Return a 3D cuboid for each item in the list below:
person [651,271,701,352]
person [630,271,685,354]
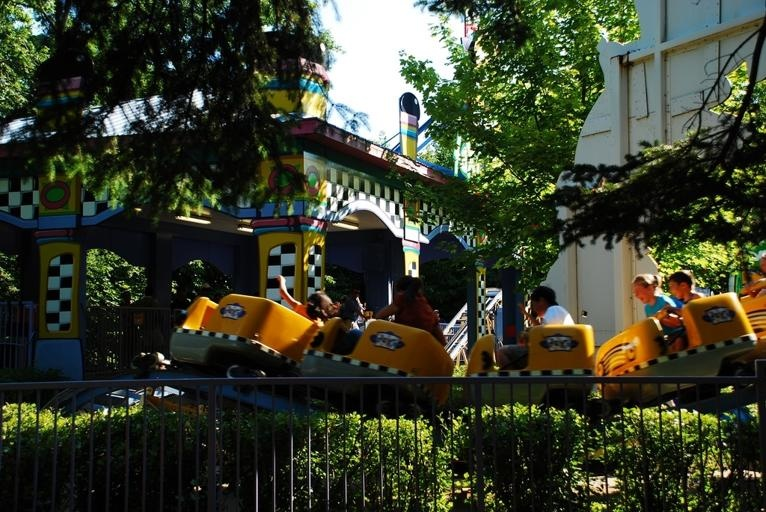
[{"bbox_3d":[3.428,0.656,10.600,0.333,1.019,0.459,-11,-23,35],"label":"person"},{"bbox_3d":[3.225,0.686,10.638,0.271,0.400,0.807,-2,22,-5],"label":"person"}]
